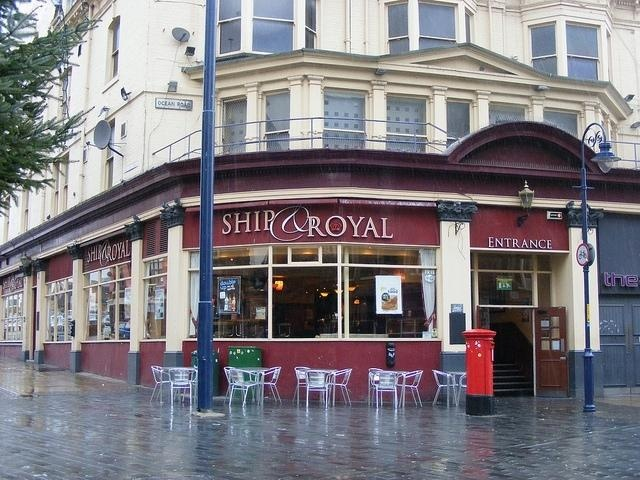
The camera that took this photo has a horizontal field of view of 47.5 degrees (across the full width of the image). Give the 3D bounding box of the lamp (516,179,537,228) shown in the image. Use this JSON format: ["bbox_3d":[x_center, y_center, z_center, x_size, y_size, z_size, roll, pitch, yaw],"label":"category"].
[{"bbox_3d":[6.325,-1.201,22.337,0.541,1.389,0.852,-2,-10,12],"label":"lamp"}]

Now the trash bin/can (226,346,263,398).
[{"bbox_3d":[-2.195,3.659,21.287,0.949,1.013,0.553,-1,-5,25],"label":"trash bin/can"}]

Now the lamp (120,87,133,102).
[{"bbox_3d":[-6.791,-5.088,25.370,0.418,0.327,0.483,11,0,42],"label":"lamp"}]
